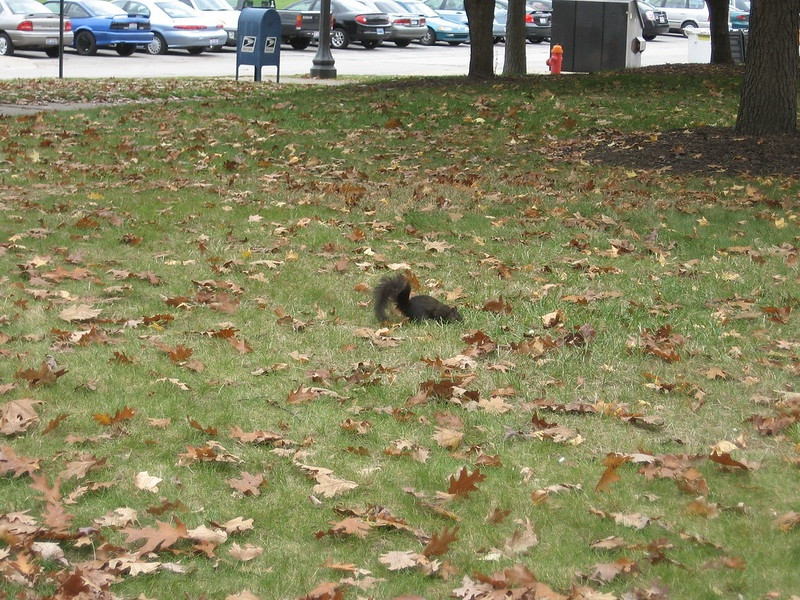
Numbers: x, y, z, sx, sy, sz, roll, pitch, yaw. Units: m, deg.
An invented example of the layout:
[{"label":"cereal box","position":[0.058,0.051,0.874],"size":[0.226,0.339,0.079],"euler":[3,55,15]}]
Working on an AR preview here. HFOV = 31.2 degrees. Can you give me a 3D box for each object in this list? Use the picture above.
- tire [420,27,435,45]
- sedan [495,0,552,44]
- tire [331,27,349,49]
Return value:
[{"label":"tire","position":[0.851,-8.285,44.814],"size":[0.198,0.577,0.555],"euler":[-16,0,-39]},{"label":"sedan","position":[4.328,-8.932,46.609],"size":[1.390,1.064,3.153],"euler":[2,17,9]},{"label":"tire","position":[-1.803,-7.797,42.422],"size":[0.704,0.740,0.258],"euler":[7,17,29]}]
